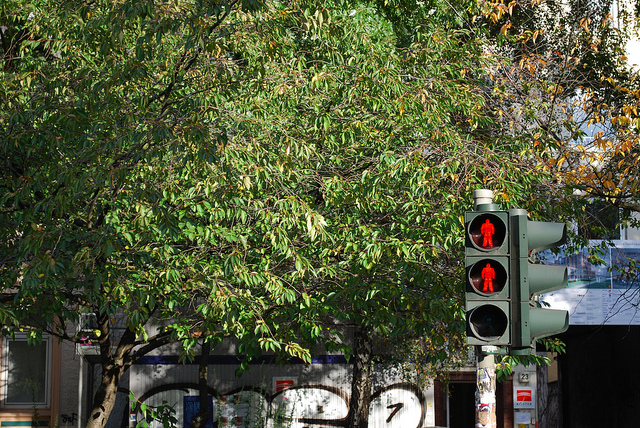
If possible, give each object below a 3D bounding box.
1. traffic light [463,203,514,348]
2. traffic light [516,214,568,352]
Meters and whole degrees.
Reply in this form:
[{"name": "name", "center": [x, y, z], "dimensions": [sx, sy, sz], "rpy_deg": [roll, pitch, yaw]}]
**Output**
[{"name": "traffic light", "center": [3.448, 1.268, 25.925], "dimensions": [0.977, 2.814, 0.665], "rpy_deg": [-1, -15, 2]}, {"name": "traffic light", "center": [4.527, 1.420, 25.900], "dimensions": [0.990, 2.682, 0.743], "rpy_deg": [-1, -15, 5]}]
